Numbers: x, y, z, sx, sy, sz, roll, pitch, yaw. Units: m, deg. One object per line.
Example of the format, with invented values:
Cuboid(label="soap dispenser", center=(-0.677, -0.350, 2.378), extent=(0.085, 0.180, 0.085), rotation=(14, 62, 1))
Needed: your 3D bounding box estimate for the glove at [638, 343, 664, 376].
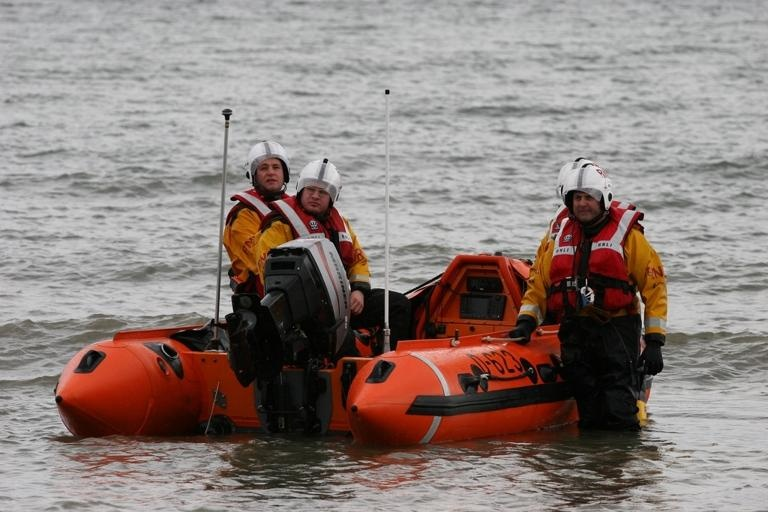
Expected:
Cuboid(label="glove", center=(5.131, 1.963, 31.044), extent=(0.265, 0.558, 0.546), rotation=(9, -19, -39))

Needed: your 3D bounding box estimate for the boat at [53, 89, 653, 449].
Cuboid(label="boat", center=(-0.450, 0.176, 31.441), extent=(11.109, 6.490, 3.093), rotation=(0, 8, 3))

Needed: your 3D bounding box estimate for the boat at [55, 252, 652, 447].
Cuboid(label="boat", center=(-0.039, 1.585, 31.413), extent=(8.006, 1.854, 5.417), rotation=(0, 0, -44))

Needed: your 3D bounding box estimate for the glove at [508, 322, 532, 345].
Cuboid(label="glove", center=(2.617, 1.494, 31.380), extent=(0.399, 0.171, 0.464), rotation=(2, 37, 40))
